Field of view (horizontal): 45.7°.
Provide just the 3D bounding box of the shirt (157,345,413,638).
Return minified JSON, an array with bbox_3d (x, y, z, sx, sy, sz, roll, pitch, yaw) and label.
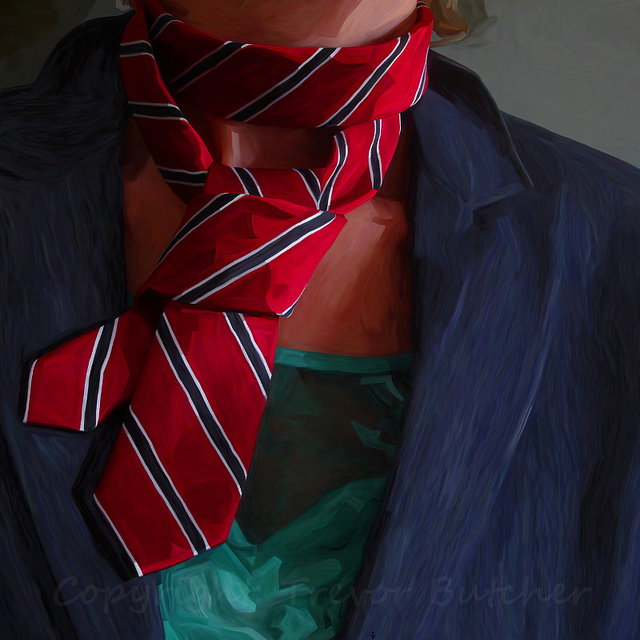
[{"bbox_3d":[-0.013,0.148,0.637,0.161,0.279,0.069,8,-1,11],"label":"shirt"}]
